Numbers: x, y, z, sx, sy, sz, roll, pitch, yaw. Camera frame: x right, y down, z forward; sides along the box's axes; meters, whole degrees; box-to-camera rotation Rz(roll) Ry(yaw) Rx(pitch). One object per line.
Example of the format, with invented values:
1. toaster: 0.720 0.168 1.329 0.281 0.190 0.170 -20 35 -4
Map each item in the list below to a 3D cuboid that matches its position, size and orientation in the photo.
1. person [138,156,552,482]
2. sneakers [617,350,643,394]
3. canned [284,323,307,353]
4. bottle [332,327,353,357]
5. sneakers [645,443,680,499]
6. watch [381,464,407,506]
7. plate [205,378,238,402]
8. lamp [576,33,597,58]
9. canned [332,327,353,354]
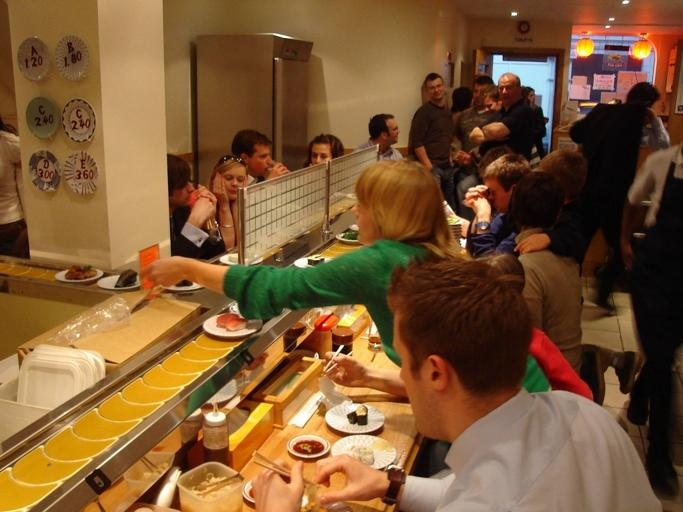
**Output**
1. person: 0.055 0.348 2.295 1.414 1.627 0.743 0 27 6
2. sneakers: 1.684 0.660 2.973 0.096 0.313 0.126 8 -7 14
3. canned: -0.209 0.360 2.312 0.107 0.087 0.113 -2 30 8
4. bottle: 0.008 0.414 2.507 0.105 0.127 0.111 -1 21 -1
5. sneakers: 1.794 1.194 2.845 0.184 0.332 0.085 -11 0 18
6. watch: 0.173 0.747 1.658 0.070 0.119 0.113 14 -27 11
7. plate: -0.420 0.461 1.751 0.128 0.034 0.134 -3 4 -5
8. lamp: 1.421 -1.218 2.950 0.103 0.135 0.150 6 16 25
9. canned: 0.007 0.405 2.491 0.102 0.123 0.107 -1 21 0
